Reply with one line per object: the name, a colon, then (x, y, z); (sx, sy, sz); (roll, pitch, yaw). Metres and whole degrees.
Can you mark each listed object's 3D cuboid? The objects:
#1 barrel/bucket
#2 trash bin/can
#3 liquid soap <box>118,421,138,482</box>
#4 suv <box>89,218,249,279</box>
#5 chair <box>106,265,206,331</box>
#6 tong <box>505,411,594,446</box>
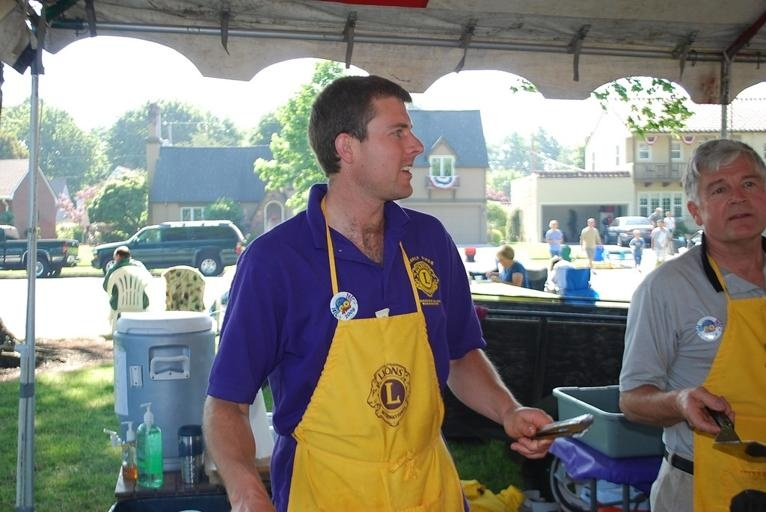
barrel/bucket: (-2.880, 1.609, 15.655); (1.065, 2.190, 1.236); (0, -1, -16)
trash bin/can: (-2.787, 1.635, 15.865); (1.449, 2.526, 1.615); (0, 1, -2)
liquid soap: (-3.160, 2.467, 15.022); (0.212, 0.770, 0.123); (-2, -3, 24)
suv: (-6.035, -0.320, 36.293); (5.178, 2.359, 2.609); (2, 0, -8)
chair: (-3.854, 0.691, 20.245); (0.712, 0.981, 1.674); (7, 21, 21)
tong: (1.925, 2.025, 13.777); (0.252, 0.359, 1.134); (32, -38, -17)
